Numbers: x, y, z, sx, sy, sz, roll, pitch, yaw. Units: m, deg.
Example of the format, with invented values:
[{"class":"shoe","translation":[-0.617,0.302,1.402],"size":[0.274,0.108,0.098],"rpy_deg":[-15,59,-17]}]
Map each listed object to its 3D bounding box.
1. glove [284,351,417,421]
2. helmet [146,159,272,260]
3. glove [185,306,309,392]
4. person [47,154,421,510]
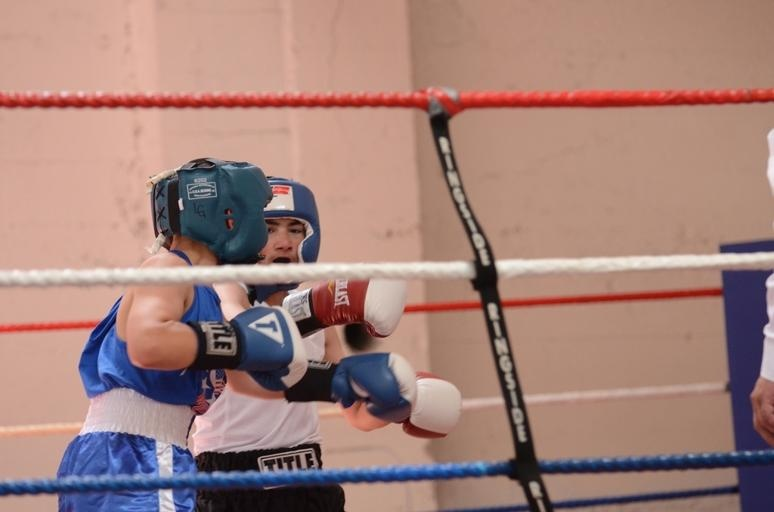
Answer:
[{"class":"glove","translation":[-0.166,0.600,5.859],"size":[0.585,0.293,0.166],"rpy_deg":[-2,-21,1]},{"class":"helmet","translation":[-0.813,-0.206,5.932],"size":[0.607,0.422,0.434],"rpy_deg":[0,-5,-9]},{"class":"glove","translation":[-0.628,0.413,5.766],"size":[0.522,0.354,0.167],"rpy_deg":[1,-22,-6]},{"class":"person","translation":[-0.892,0.357,5.942],"size":[1.352,1.570,0.700],"rpy_deg":[-11,-24,25]}]
